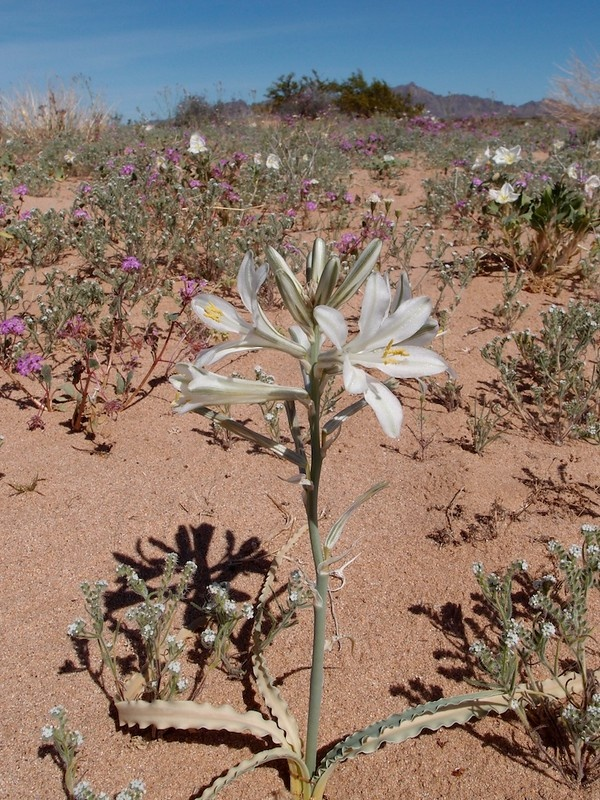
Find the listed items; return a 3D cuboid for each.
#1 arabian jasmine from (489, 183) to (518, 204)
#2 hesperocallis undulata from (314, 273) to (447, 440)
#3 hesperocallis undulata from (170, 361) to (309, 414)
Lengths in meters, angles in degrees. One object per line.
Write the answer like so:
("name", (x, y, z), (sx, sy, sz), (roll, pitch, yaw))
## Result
("arabian jasmine", (1.701, -1.735, 5.786), (0.237, 0.168, 0.210), (13, 26, 26))
("hesperocallis undulata", (0.190, -0.133, 1.719), (0.266, 0.351, 0.312), (18, 28, 33))
("hesperocallis undulata", (-0.135, -0.024, 1.776), (0.345, 0.125, 0.149), (4, 22, -11))
